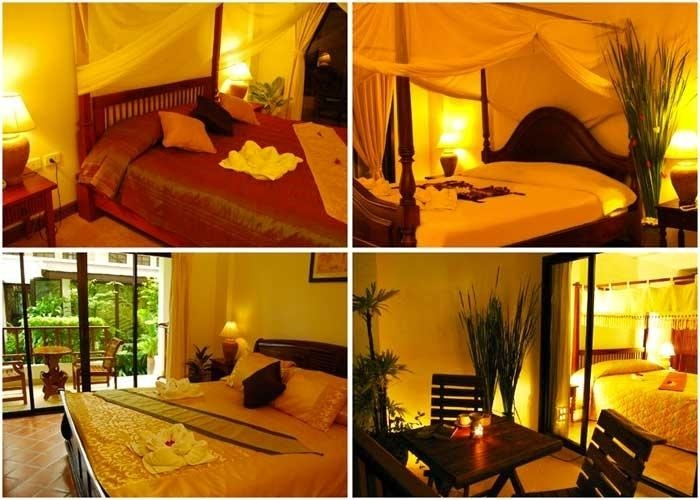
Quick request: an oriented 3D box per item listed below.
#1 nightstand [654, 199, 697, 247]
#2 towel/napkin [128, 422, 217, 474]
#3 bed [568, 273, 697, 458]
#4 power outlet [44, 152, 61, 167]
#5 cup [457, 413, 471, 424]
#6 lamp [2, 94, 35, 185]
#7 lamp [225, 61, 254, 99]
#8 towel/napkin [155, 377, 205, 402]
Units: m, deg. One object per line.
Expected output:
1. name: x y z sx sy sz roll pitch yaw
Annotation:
1. nightstand: 1.913 -0.167 2.754 0.231 0.315 0.238 8 12 44
2. towel/napkin: -0.881 1.007 2.363 0.252 0.090 0.259 3 10 -28
3. bed: 1.904 0.666 3.036 0.845 0.867 0.866 -3 11 7
4. power outlet: -1.632 -0.496 2.551 0.066 0.059 0.021 -16 25 -24
5. cup: 0.670 0.995 2.757 0.043 0.047 0.068 -2 -3 -25
6. lamp: -1.769 -0.581 2.489 0.139 0.480 0.106 0 -2 -36
7. lamp: -0.701 -1.059 2.942 0.129 0.225 0.130 22 22 39
8. towel/napkin: -1.105 0.866 2.985 0.174 0.067 0.179 2 1 -8
